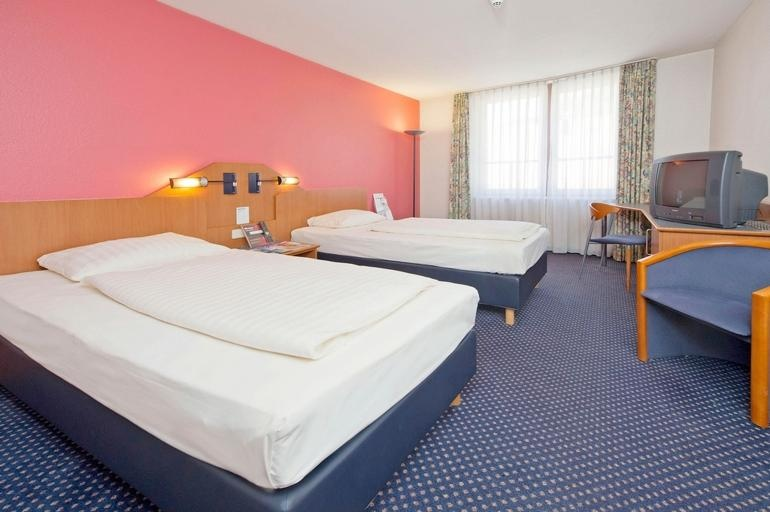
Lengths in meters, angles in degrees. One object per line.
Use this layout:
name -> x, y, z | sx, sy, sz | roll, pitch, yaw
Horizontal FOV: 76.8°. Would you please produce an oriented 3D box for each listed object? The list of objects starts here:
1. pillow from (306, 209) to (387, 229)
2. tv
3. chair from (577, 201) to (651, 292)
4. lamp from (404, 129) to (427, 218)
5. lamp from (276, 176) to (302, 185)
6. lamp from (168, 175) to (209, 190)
pillow -> -0.415, -0.454, 5.978 | 0.369, 0.131, 0.608 | 8, 11, 42
tv -> 2.951, -0.609, 4.410 | 0.777, 0.599, 0.796 | -9, 6, -17
chair -> 2.725, -0.177, 5.780 | 0.716, 0.874, 0.710 | 5, 18, 32
lamp -> 0.507, -1.349, 8.119 | 0.140, 1.354, 0.432 | 4, 15, 29
lamp -> -1.109, -0.884, 5.664 | 0.111, 0.122, 0.337 | 3, 14, 25
lamp -> -1.883, -0.708, 4.718 | 0.354, 0.122, 0.172 | -9, 14, -26
